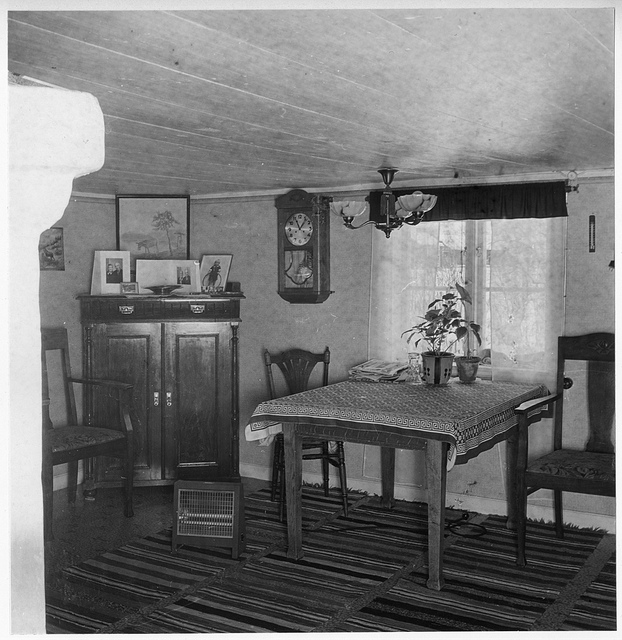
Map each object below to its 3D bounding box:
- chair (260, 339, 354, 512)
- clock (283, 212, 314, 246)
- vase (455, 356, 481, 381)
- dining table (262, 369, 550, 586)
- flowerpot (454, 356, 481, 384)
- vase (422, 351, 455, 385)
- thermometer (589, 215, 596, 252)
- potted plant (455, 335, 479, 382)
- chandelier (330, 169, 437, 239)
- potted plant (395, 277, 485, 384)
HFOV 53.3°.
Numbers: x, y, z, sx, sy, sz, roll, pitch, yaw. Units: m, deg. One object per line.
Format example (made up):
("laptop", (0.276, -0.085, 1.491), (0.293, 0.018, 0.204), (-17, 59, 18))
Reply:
("chair", (-0.069, 0.767, 4.406), (0.557, 1.112, 0.641), (-3, 4, -21))
("clock", (-0.086, -0.700, 4.684), (0.218, 0.278, 0.032), (2, 2, 30))
("vase", (1.001, 0.299, 3.928), (0.132, 0.138, 0.135), (0, -2, -2))
("dining table", (0.449, 0.989, 3.603), (1.028, 0.829, 1.372), (4, -12, 18))
("flowerpot", (0.987, 0.310, 3.907), (0.139, 0.160, 0.142), (0, -2, 1))
("vase", (0.793, 0.289, 3.815), (0.162, 0.155, 0.177), (1, -3, -7))
("thermometer", (1.712, -0.532, 3.770), (0.038, 0.221, 0.051), (1, 2, 26))
("potted plant", (1.003, 0.241, 3.955), (0.186, 0.295, 0.188), (1, 4, 44))
("chandelier", (0.466, -0.718, 3.805), (0.632, 0.458, 0.642), (0, 5, 18))
("potted plant", (0.854, 0.041, 4.103), (0.515, 0.671, 0.602), (1, 2, 18))
